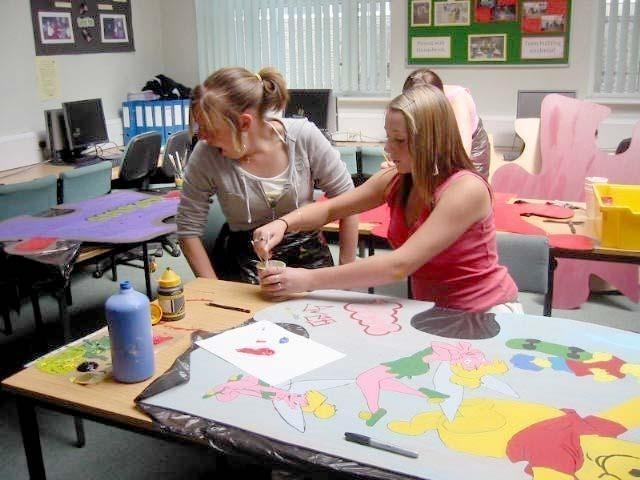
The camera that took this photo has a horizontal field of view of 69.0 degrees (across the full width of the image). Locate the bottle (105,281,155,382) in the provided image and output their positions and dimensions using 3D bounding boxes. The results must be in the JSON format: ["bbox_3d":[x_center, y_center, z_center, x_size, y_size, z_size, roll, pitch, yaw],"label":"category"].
[{"bbox_3d":[-0.519,0.235,1.228,0.142,0.267,0.105,-4,19,-7],"label":"bottle"}]

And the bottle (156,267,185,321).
[{"bbox_3d":[-0.504,0.177,1.547,0.092,0.163,0.086,-1,11,0],"label":"bottle"}]

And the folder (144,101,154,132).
[{"bbox_3d":[-1.963,-1.392,5.258,0.099,0.277,0.050,2,20,10],"label":"folder"}]

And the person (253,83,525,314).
[{"bbox_3d":[0.243,-0.160,1.743,0.957,0.787,0.557,-3,19,-2],"label":"person"}]

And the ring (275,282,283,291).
[{"bbox_3d":[-0.146,0.159,1.615,0.019,0.025,0.009,2,1,5],"label":"ring"}]

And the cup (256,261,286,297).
[{"bbox_3d":[-0.183,0.127,1.686,0.118,0.118,0.120,-2,13,0],"label":"cup"}]
